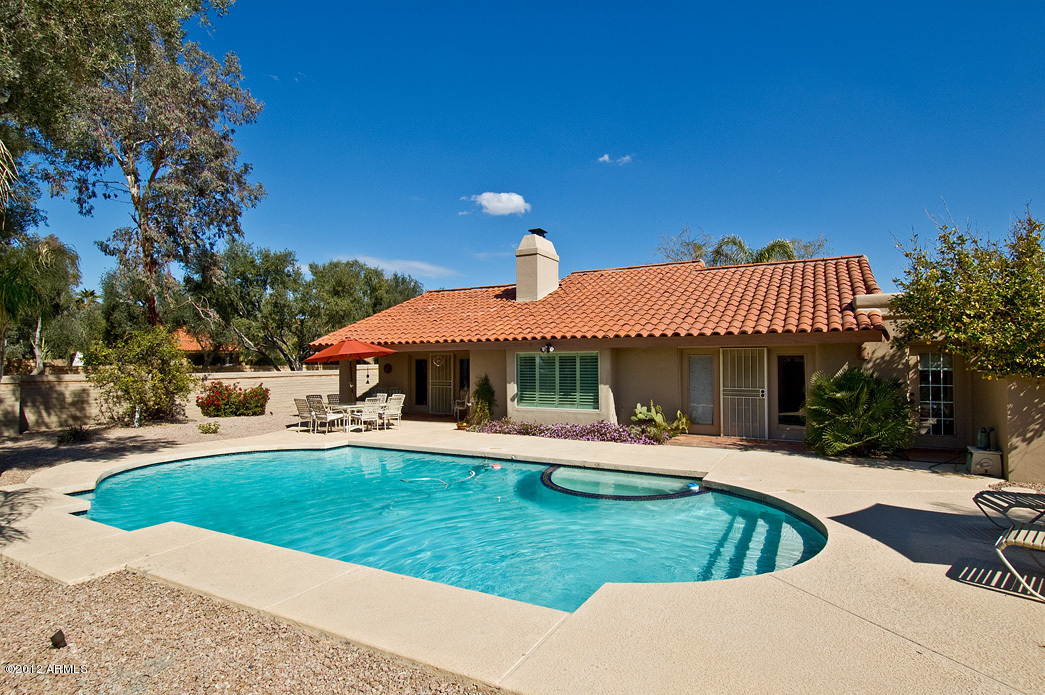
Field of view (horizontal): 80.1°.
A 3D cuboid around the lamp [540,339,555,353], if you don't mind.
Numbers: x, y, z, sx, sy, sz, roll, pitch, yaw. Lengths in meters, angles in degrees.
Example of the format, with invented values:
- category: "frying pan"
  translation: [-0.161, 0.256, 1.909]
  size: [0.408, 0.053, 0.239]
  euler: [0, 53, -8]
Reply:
- category: "lamp"
  translation: [0.923, 0.051, 23.096]
  size: [0.360, 0.552, 0.567]
  euler: [0, -6, 8]

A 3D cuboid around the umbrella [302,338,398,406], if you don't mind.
- category: "umbrella"
  translation: [-7.218, 1.520, 26.341]
  size: [3.523, 2.339, 3.495]
  euler: [-6, 6, -44]

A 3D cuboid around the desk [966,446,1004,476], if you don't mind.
- category: "desk"
  translation: [12.007, 2.953, 16.076]
  size: [0.814, 0.489, 0.587]
  euler: [0, -1, -33]
